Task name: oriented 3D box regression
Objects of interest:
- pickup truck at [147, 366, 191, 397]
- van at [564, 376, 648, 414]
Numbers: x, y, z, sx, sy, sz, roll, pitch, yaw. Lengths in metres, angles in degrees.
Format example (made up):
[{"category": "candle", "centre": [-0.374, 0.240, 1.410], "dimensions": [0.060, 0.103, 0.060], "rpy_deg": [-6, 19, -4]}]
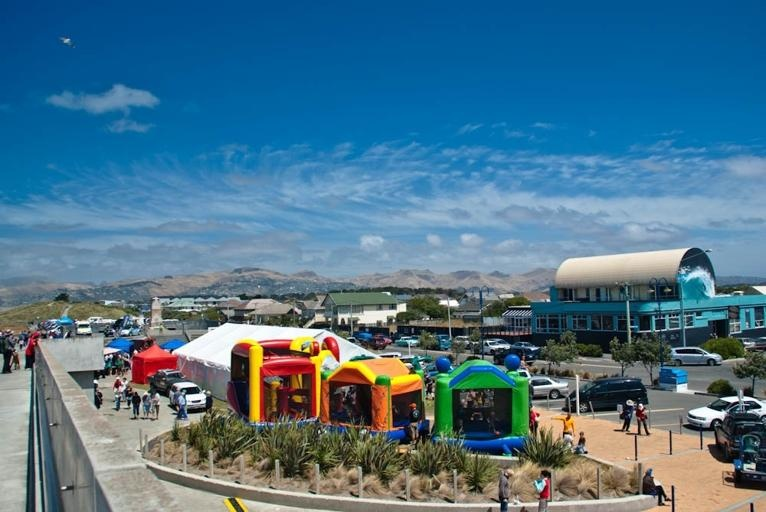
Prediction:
[{"category": "pickup truck", "centre": [-15.690, 9.110, 43.601], "dimensions": [1.775, 1.378, 3.326], "rpy_deg": [2, -6, -41]}, {"category": "van", "centre": [14.899, 9.301, 40.803], "dimensions": [5.478, 1.811, 2.474], "rpy_deg": [1, -7, 0]}]
